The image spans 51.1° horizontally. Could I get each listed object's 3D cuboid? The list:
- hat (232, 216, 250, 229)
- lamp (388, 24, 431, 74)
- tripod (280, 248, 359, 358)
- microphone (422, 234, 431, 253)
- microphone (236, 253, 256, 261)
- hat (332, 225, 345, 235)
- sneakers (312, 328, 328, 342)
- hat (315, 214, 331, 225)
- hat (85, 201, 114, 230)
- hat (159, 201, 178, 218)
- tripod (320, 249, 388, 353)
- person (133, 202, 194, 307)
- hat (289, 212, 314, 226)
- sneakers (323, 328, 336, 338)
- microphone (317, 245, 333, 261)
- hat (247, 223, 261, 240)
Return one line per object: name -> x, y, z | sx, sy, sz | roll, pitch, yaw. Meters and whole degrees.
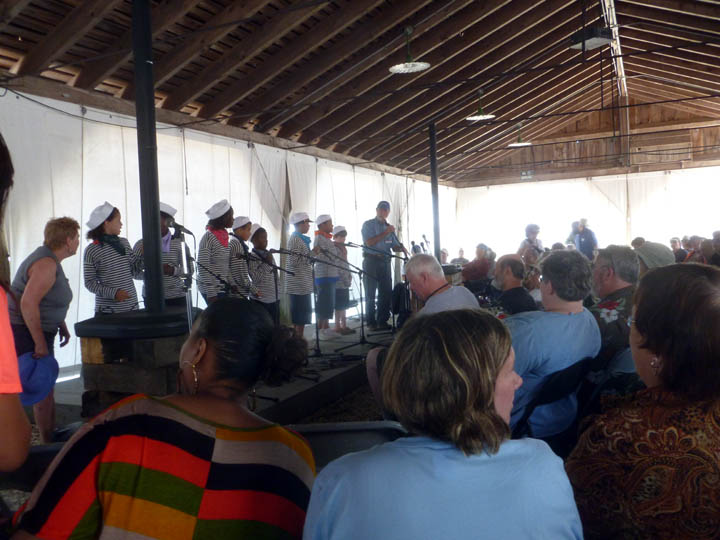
hat -> -1.030, -0.415, 6.501 | 0.093, 0.067, 0.124 | -9, 1, -32
lamp -> 0.527, -2.316, 8.106 | 0.454, 0.592, 0.550 | -1, 9, 5
tripod -> -0.255, 0.365, 7.788 | 0.734, 1.425, 0.904 | 3, 5, 37
microphone -> 1.035, -0.419, 11.767 | 0.099, 0.158, 0.454 | 5, -42, 13
microphone -> -0.917, -0.104, 6.051 | 0.083, 0.045, 0.122 | 1, -4, -3
hat -> -0.236, -0.446, 8.419 | 0.102, 0.083, 0.111 | 0, -2, -2
sneakers -> -0.389, 0.717, 8.356 | 0.309, 0.157, 0.129 | -3, -3, 43
hat -> -0.413, -0.561, 8.238 | 0.122, 0.058, 0.120 | -23, 17, -32
hat -> -1.790, -0.374, 5.226 | 0.170, 0.091, 0.234 | -17, 28, 38
hat -> -1.489, -0.467, 5.831 | 0.149, 0.083, 0.196 | 27, 5, 2
tripod -> -0.192, 0.116, 8.683 | 0.345, 1.321, 0.344 | -13, -13, 21
person -> -1.528, 0.114, 5.873 | 0.370, 1.212, 0.372 | -9, 15, -21
hat -> -0.609, -0.497, 7.742 | 0.207, 0.104, 0.160 | -6, 3, 2
sneakers -> -0.347, 0.714, 8.473 | 0.172, 0.089, 0.068 | -2, 0, 11
microphone -> -0.376, -0.182, 7.862 | 0.105, 0.196, 0.130 | -7, 0, -40
hat -> -0.979, -0.380, 6.966 | 0.119, 0.162, 0.110 | 34, -3, -14
